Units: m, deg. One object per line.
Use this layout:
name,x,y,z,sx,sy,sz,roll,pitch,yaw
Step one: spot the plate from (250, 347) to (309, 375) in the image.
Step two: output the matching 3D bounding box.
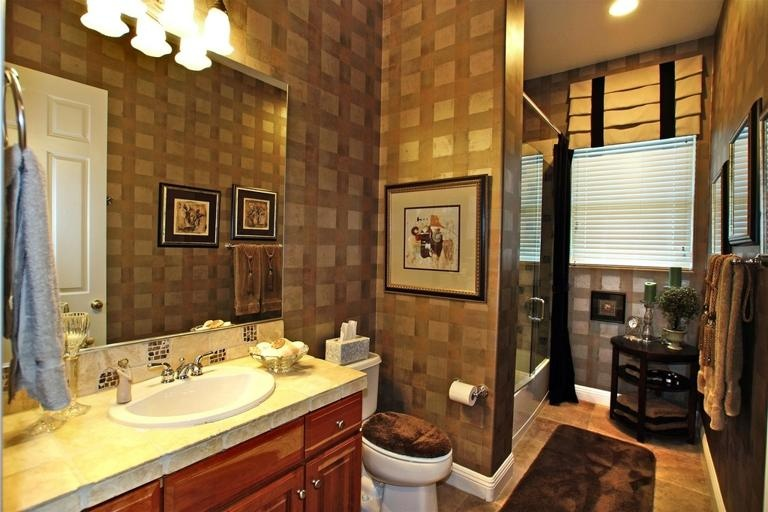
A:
plate,-0.634,0.635,3.170,0.197,0.080,0.195,1,-3,-36

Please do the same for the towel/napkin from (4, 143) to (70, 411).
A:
towel/napkin,-1.659,0.104,2.439,0.224,1.200,0.332,-7,15,-34

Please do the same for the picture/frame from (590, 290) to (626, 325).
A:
picture/frame,2.143,0.484,5.013,0.318,0.327,0.113,2,2,42

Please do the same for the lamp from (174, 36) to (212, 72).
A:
lamp,-1.099,-1.163,3.024,0.162,0.174,0.163,-5,5,-20

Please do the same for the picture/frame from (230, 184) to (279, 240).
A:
picture/frame,-0.836,-0.285,3.316,0.360,0.372,0.035,-1,1,-45

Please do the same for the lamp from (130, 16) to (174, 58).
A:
lamp,-1.297,-1.227,2.928,0.209,0.213,0.129,-4,14,-24

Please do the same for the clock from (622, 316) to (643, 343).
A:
clock,2.244,0.660,4.776,0.203,0.219,0.162,6,-6,-28

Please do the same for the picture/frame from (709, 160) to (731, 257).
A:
picture/frame,2.544,-0.358,3.981,0.035,0.807,0.788,0,1,26

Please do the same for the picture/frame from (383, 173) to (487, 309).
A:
picture/frame,0.401,-0.117,3.831,0.955,1.010,0.074,2,3,36

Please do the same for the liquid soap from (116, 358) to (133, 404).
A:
liquid soap,-1.413,0.665,2.847,0.081,0.183,0.225,-5,14,-27

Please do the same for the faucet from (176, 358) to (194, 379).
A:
faucet,-1.139,0.641,3.045,0.058,0.116,0.120,7,8,40

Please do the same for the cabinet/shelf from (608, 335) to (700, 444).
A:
cabinet/shelf,2.286,1.083,4.567,0.723,0.863,0.762,-2,4,-32

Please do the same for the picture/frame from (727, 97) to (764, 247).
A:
picture/frame,2.271,-0.528,3.305,0.075,1.008,0.985,0,3,25

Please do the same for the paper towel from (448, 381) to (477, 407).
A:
paper towel,0.526,0.939,3.674,0.192,0.174,0.156,-1,7,45

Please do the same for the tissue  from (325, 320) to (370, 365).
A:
tissue ,-0.273,0.610,3.665,0.139,0.300,0.297,0,0,44

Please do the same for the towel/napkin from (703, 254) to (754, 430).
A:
towel/napkin,2.134,0.560,3.323,0.272,1.111,0.429,9,14,29
